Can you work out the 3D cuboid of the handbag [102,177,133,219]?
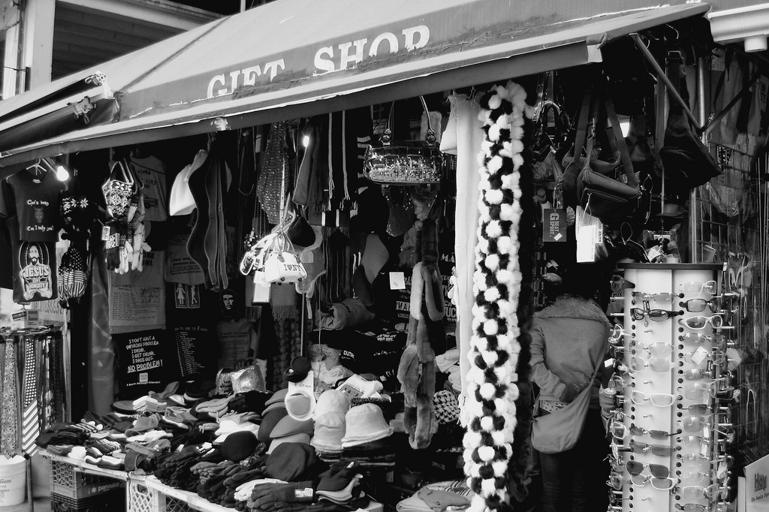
[{"bbox_3d":[-2.246,-0.481,7.338,0.282,0.329,0.289,4,-7,12],"label":"handbag"}]

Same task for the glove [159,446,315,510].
[{"bbox_3d":[-1.117,1.622,6.478,1.198,0.409,0.608,-5,-5,38],"label":"glove"}]

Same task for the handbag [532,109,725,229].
[{"bbox_3d":[1.493,-0.569,5.045,0.596,0.364,0.828,-5,29,-32],"label":"handbag"}]

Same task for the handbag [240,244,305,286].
[{"bbox_3d":[-0.839,0.046,6.377,0.274,0.212,0.429,1,5,-35],"label":"handbag"}]

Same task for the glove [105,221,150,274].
[{"bbox_3d":[-2.288,-0.071,7.489,0.361,0.412,0.255,-1,-4,-3],"label":"glove"}]
